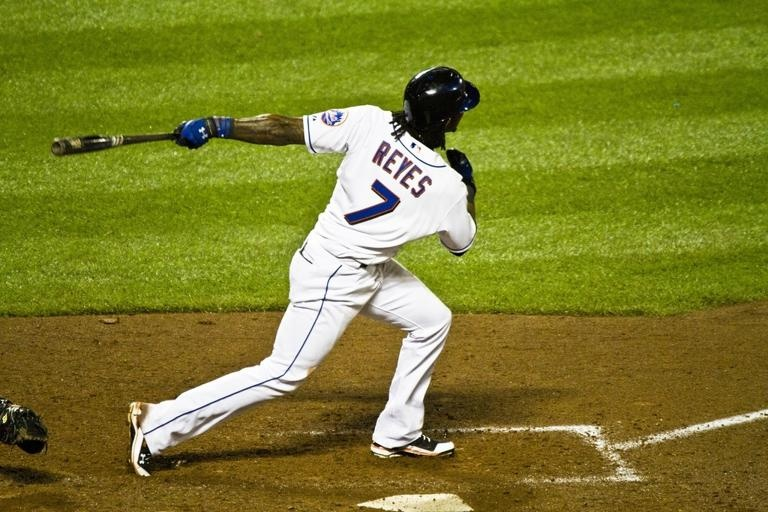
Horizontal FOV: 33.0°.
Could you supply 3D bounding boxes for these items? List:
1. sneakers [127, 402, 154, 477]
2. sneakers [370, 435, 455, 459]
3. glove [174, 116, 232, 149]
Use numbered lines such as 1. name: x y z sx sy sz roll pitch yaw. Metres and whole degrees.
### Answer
1. sneakers: -2.128 1.613 11.305 0.233 0.593 0.289 5 11 23
2. sneakers: 0.268 1.722 11.777 0.793 0.244 0.247 -1 0 -2
3. glove: -1.547 -1.077 11.245 0.493 0.146 0.265 -8 -5 0
